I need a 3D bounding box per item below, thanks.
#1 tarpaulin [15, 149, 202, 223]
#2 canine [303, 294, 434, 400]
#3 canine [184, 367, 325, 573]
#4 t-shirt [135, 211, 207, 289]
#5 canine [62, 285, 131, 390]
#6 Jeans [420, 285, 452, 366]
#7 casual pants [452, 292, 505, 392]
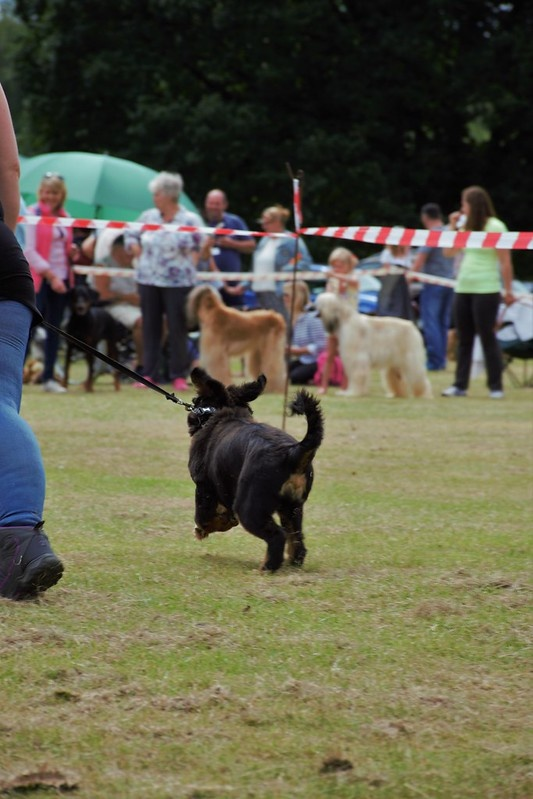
[{"bbox_3d":[-2.154,-2.697,12.370,2.543,0.629,2.375,-3,16,-35],"label":"tarpaulin"},{"bbox_3d":[0.554,-0.292,5.608,0.834,0.527,0.250,3,-1,-19],"label":"canine"},{"bbox_3d":[-0.043,0.231,3.685,0.376,0.664,1.022,2,1,-24],"label":"canine"},{"bbox_3d":[-0.823,-1.273,8.137,0.759,0.586,0.387,6,21,17],"label":"t-shirt"},{"bbox_3d":[-2.092,-0.711,11.023,0.457,0.989,1.734,17,2,0],"label":"canine"},{"bbox_3d":[0.596,-0.249,3.410,0.100,0.305,0.108,2,-9,-28],"label":"Jeans"},{"bbox_3d":[0.662,-0.207,3.132,0.187,0.342,0.113,-3,-7,-21],"label":"casual pants"}]
